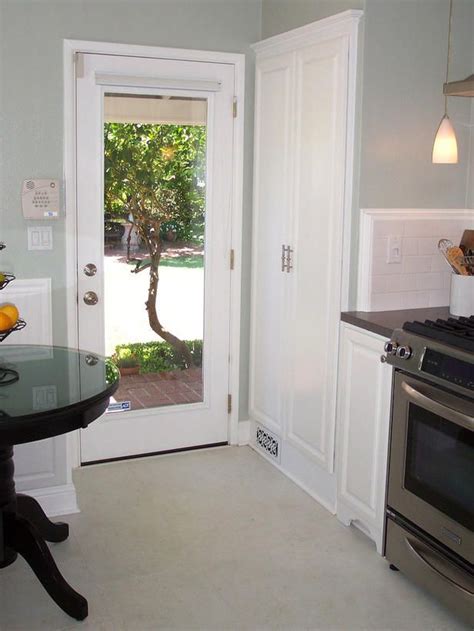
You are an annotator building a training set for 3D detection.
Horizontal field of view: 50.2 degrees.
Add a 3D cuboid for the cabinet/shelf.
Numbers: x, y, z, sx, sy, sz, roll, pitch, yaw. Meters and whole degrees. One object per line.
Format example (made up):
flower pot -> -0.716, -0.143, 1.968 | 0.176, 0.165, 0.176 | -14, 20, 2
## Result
cabinet/shelf -> 0.264, -0.252, 2.345 | 0.257, 2.182, 1.002 | 0, 5, -13
